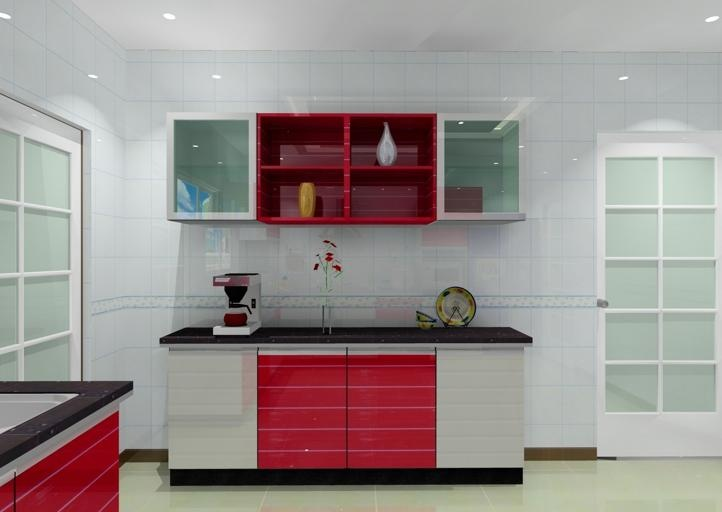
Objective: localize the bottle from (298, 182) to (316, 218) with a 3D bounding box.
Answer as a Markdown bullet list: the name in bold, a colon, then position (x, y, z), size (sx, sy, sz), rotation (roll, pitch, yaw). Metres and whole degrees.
- **bottle**: position (-0.423, -0.428, 4.733), size (0.059, 0.218, 0.253), rotation (2, 1, -41)

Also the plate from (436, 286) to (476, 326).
- **plate**: position (0.763, 0.410, 4.952), size (0.332, 0.300, 0.155), rotation (1, 14, 8)

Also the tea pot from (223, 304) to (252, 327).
- **tea pot**: position (-0.949, 0.455, 4.709), size (0.180, 0.161, 0.175), rotation (-1, 13, 0)

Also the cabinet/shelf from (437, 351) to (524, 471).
- **cabinet/shelf**: position (0.879, 1.133, 4.572), size (0.633, 0.862, 0.279), rotation (0, 14, 5)

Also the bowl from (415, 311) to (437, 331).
- **bowl**: position (0.525, 0.516, 4.888), size (0.170, 0.131, 0.212), rotation (0, 13, 7)

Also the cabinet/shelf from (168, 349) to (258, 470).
- **cabinet/shelf**: position (-1.093, 1.131, 4.562), size (0.634, 0.850, 0.271), rotation (0, 14, 4)
